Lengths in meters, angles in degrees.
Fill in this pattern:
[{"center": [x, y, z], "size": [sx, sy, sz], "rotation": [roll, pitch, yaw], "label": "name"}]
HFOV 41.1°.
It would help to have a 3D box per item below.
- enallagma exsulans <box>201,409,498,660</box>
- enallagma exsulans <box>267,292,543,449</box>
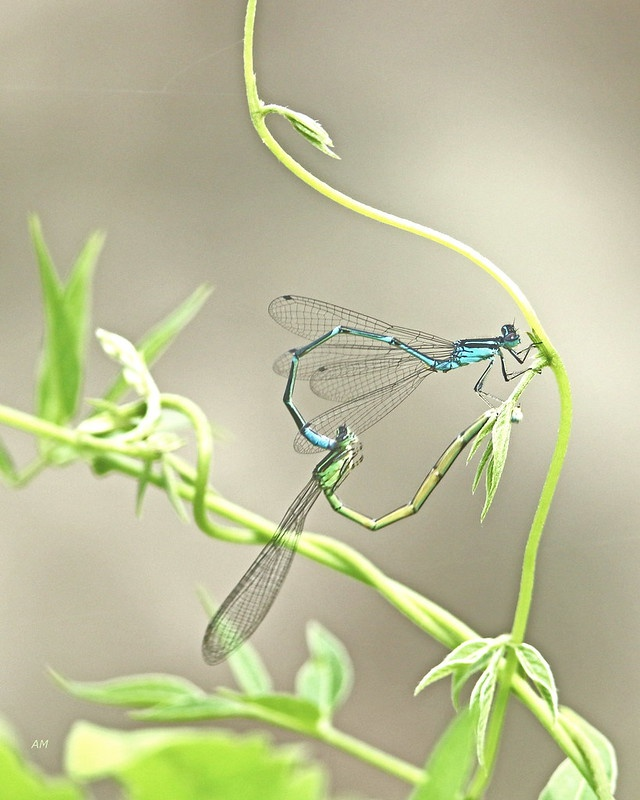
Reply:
[{"center": [0.024, 0.074, 0.709], "size": [0.111, 0.340, 0.016], "rotation": [22, -37, 24], "label": "enallagma exsulans"}, {"center": [0.089, -0.027, 0.667], "size": [0.230, 0.090, 0.082], "rotation": [-4, -91, 19], "label": "enallagma exsulans"}]
